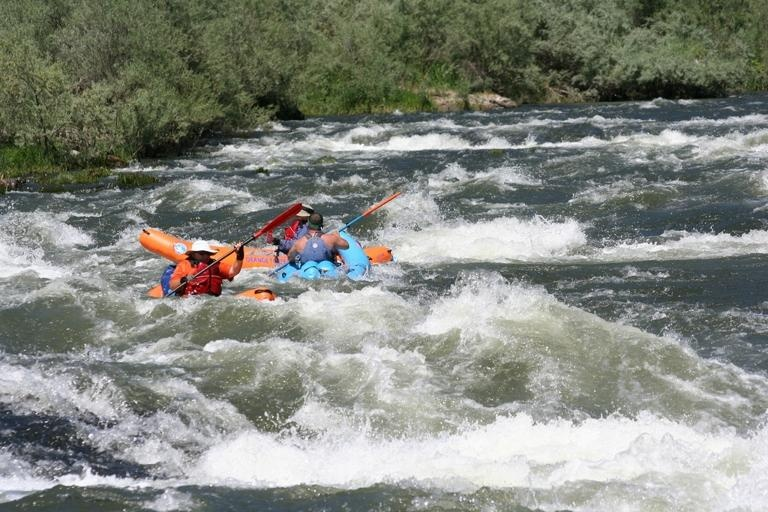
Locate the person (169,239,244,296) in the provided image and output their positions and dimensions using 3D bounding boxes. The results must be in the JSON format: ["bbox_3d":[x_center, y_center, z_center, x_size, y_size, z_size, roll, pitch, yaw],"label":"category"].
[{"bbox_3d":[-3.722,0.298,24.939,1.393,2.067,0.885,-1,1,-42],"label":"person"}]

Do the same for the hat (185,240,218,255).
[{"bbox_3d":[-3.751,-0.143,24.595,0.550,0.431,0.314,-14,28,-13],"label":"hat"}]

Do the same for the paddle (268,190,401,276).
[{"bbox_3d":[-1.089,-0.451,27.593,3.900,0.382,0.320,-29,35,-15],"label":"paddle"}]

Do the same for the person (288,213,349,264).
[{"bbox_3d":[-1.472,-0.235,25.980,1.008,0.618,1.366,0,38,1],"label":"person"}]

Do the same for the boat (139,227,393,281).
[{"bbox_3d":[-2.898,-0.143,26.662,6.652,0.765,1.736,3,16,-2],"label":"boat"}]
